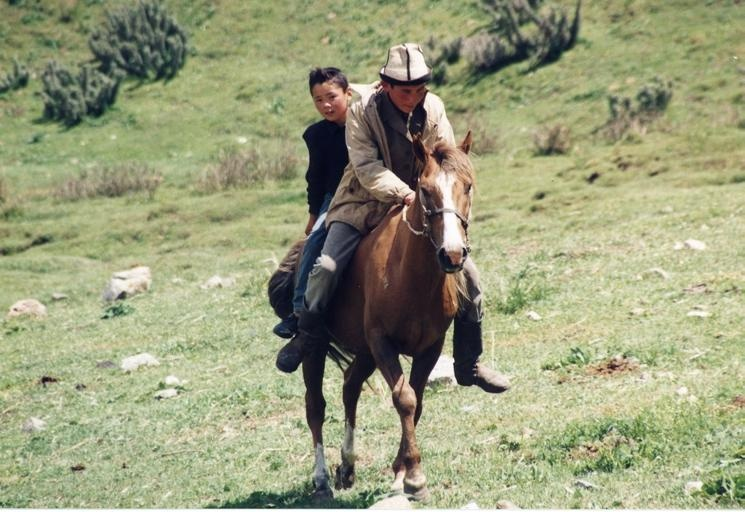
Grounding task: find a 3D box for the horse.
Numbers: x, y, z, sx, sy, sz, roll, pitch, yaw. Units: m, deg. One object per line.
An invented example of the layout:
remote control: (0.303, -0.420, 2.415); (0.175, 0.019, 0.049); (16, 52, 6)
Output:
horse: (0.483, 0.925, 16.518); (2.333, 5.345, 1.448); (-2, 15, 16)
